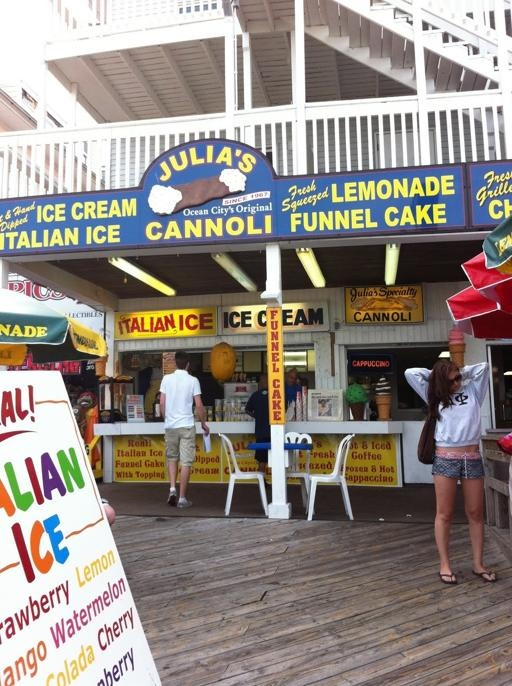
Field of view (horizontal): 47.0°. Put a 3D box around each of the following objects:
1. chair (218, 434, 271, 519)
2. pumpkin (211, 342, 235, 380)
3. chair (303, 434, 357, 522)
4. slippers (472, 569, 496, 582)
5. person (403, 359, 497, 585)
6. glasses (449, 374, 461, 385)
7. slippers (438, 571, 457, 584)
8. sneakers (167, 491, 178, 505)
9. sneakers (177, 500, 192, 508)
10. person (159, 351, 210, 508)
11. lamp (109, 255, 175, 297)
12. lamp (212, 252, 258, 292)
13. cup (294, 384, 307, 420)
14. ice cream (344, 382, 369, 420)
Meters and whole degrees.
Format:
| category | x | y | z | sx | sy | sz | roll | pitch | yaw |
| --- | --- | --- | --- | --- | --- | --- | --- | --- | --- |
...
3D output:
| category | x | y | z | sx | sy | sz | roll | pitch | yaw |
| --- | --- | --- | --- | --- | --- | --- | --- | --- | --- |
| chair | -0.095 | 1.418 | 6.457 | 0.601 | 0.826 | 0.644 | -6 | -10 | 34 |
| pumpkin | -0.528 | 0.288 | 9.436 | 0.400 | 0.626 | 0.360 | -4 | -8 | 23 |
| chair | 0.767 | 1.372 | 6.048 | 0.503 | 0.785 | 0.475 | 0 | -9 | -3 |
| slippers | 1.467 | 1.467 | 3.740 | 0.060 | 0.024 | 0.100 | -1 | -1 | -35 |
| person | 1.296 | 0.811 | 3.771 | 0.478 | 1.394 | 0.293 | -2 | -7 | 4 |
| glasses | 1.274 | 0.230 | 3.736 | 0.058 | 0.079 | 0.035 | -13 | -24 | 23 |
| slippers | 1.223 | 1.483 | 3.736 | 0.098 | 0.055 | 0.162 | -3 | -7 | 14 |
| sneakers | -0.969 | 1.823 | 6.872 | 0.096 | 0.100 | 0.221 | 5 | -46 | -11 |
| sneakers | -0.822 | 1.832 | 6.761 | 0.155 | 0.098 | 0.171 | 0 | -7 | -7 |
| person | -0.846 | 1.001 | 6.929 | 0.532 | 1.793 | 0.670 | 0 | -7 | -7 |
| lamp | -1.571 | -0.812 | 8.108 | 0.218 | 0.117 | 1.377 | -23 | -20 | 13 |
| lamp | -0.268 | -0.956 | 7.965 | 0.186 | 0.160 | 1.191 | -13 | -11 | 13 |
| cup | 0.696 | 0.911 | 8.854 | 0.153 | 0.502 | 0.362 | -5 | -8 | 26 |
| ice cream | 1.498 | 0.872 | 8.711 | 0.341 | 0.543 | 0.497 | -2 | -7 | 9 |
